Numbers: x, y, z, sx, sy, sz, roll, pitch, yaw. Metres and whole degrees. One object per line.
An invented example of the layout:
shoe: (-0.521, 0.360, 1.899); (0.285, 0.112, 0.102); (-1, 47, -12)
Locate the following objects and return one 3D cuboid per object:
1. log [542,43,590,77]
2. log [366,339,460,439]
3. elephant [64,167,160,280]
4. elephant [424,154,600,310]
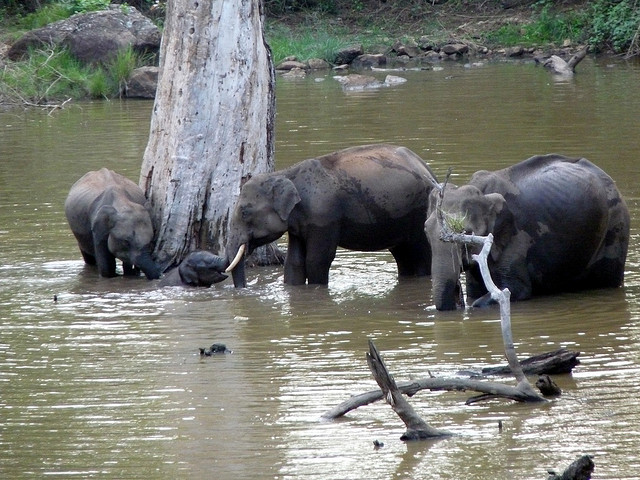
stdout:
log: (6.254, -4.463, 31.309); (1.115, 0.562, 1.427); (-20, 2, 1)
log: (0.601, 1.173, 8.930); (0.140, 0.957, 0.381); (-25, 11, 46)
elephant: (-2.365, -0.170, 14.003); (0.834, 1.128, 1.408); (-8, 10, -21)
elephant: (1.978, -0.029, 12.133); (2.634, 1.438, 0.936); (-7, 10, -35)
